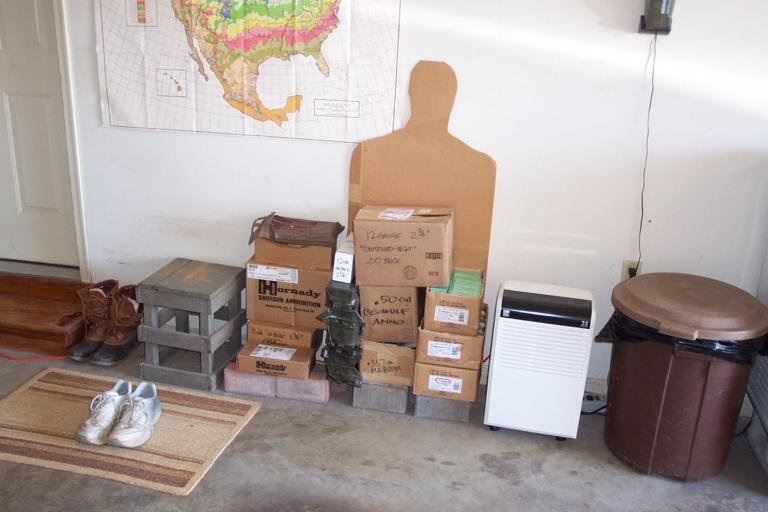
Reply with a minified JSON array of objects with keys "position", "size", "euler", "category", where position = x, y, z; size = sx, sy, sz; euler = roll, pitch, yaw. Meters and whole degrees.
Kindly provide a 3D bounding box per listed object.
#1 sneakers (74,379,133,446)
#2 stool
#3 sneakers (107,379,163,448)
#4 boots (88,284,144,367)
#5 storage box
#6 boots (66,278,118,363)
[{"position":[-1.522,0.858,3.274],"size":[0.191,0.167,0.421],"euler":[11,39,8],"category":"sneakers"},{"position":[-1.252,0.480,3.862],"size":[0.795,0.805,0.806],"euler":[10,27,6],"category":"stool"},{"position":[-1.371,0.885,3.185],"size":[0.171,0.136,0.356],"euler":[8,18,-2],"category":"sneakers"},{"position":[-1.784,0.483,3.859],"size":[0.224,0.358,0.597],"euler":[14,15,-5],"category":"boots"},{"position":[-0.104,0.315,3.430],"size":[1.335,0.863,0.422],"euler":[3,11,12],"category":"storage box"},{"position":[-1.949,0.443,3.846],"size":[0.219,0.373,0.550],"euler":[16,17,-10],"category":"boots"}]
